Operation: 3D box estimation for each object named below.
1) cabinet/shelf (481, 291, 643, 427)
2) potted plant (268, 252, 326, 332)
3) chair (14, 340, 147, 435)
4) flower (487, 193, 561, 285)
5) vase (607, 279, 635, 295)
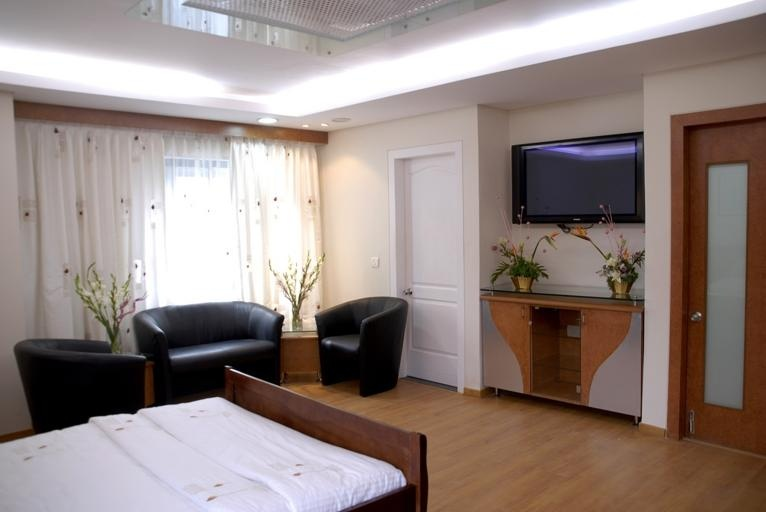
[{"bbox_3d":[1.858,1.045,5.517,1.285,0.840,0.506,0,-1,43],"label":"cabinet/shelf"},{"bbox_3d":[-1.069,0.442,7.139,0.716,1.134,0.882,2,6,24],"label":"potted plant"},{"bbox_3d":[-2.878,1.202,5.166,0.928,0.974,0.966,-7,7,-35],"label":"chair"},{"bbox_3d":[1.554,-0.112,6.331,0.941,0.960,0.799,-2,-5,32],"label":"flower"},{"bbox_3d":[2.308,0.306,5.301,0.172,0.114,0.175,0,-5,12],"label":"vase"}]
